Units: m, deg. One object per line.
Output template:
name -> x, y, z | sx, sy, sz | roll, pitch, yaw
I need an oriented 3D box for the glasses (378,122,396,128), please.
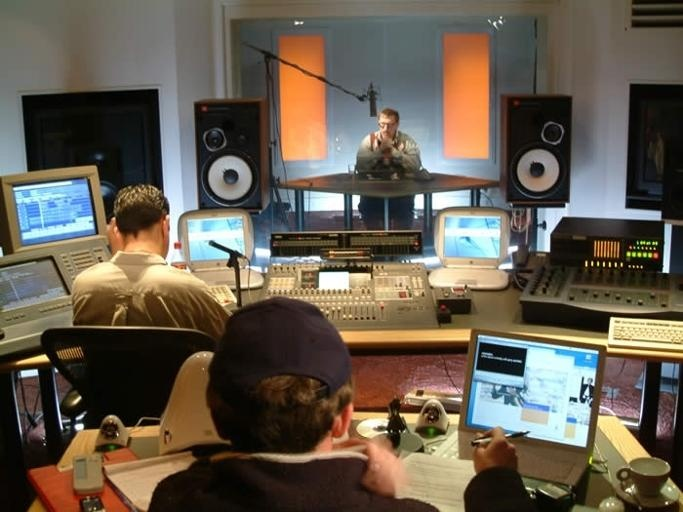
glasses -> 0.389, -1.088, 4.773 | 0.155, 0.054, 0.038 | -3, 11, -13

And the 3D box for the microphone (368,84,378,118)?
microphone -> 0.254, -1.274, 4.687 | 0.073, 0.259, 0.084 | 0, 10, 3

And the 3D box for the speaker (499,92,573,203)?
speaker -> 1.402, -0.729, 3.963 | 0.427, 0.779, 0.501 | 3, 12, 29

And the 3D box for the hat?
hat -> -0.154, 0.173, 1.225 | 0.299, 0.182, 0.321 | -9, 3, -1

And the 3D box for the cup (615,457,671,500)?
cup -> 0.883, 0.634, 1.648 | 0.130, 0.077, 0.110 | -4, 21, 10

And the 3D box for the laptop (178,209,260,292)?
laptop -> -0.736, 0.003, 3.379 | 0.478, 0.442, 0.429 | -8, 30, -17

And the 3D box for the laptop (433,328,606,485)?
laptop -> 0.625, 0.477, 1.907 | 0.470, 0.432, 0.376 | 7, 52, 11

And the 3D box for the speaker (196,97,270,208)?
speaker -> -0.776, -0.738, 3.978 | 0.516, 0.790, 0.531 | -10, 35, -22

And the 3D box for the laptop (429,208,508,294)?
laptop -> 0.758, -0.054, 3.386 | 0.447, 0.422, 0.402 | 3, 16, 22

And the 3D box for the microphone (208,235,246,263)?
microphone -> -0.686, -0.039, 3.337 | 0.206, 0.077, 0.054 | 32, 5, -33
